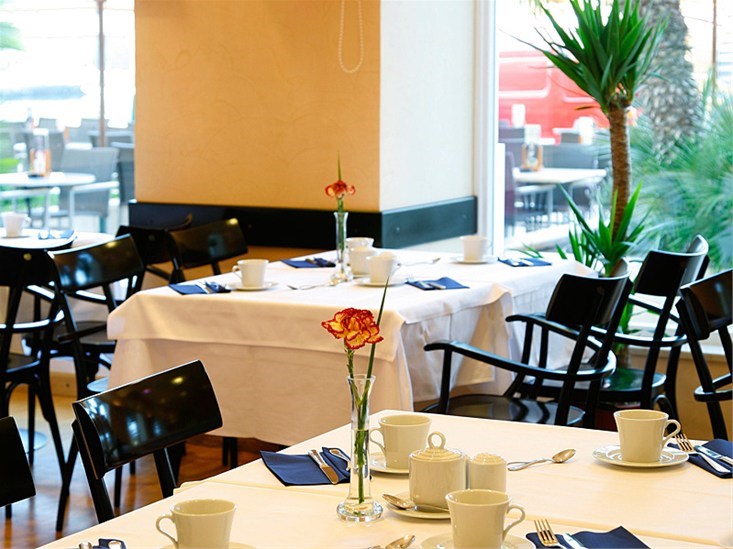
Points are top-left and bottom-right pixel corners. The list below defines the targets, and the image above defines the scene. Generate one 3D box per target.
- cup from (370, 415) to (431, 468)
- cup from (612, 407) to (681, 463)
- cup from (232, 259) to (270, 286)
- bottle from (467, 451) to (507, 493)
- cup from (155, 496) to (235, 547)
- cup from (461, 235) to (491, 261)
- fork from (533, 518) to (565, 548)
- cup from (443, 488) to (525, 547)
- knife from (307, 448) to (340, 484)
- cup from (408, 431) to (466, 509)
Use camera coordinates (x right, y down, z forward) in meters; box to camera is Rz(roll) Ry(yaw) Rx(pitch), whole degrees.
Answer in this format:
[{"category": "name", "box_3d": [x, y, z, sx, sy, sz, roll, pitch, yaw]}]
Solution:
[{"category": "cup", "box_3d": [0.062, 0.341, 1.249, 0.132, 0.097, 0.102, -5, -15, 25]}, {"category": "cup", "box_3d": [0.584, 0.331, 1.280, 0.122, 0.089, 0.091, 1, -3, -10]}, {"category": "cup", "box_3d": [-0.524, -0.003, 2.881, 0.122, 0.125, 0.149, -4, 6, -13]}, {"category": "bottle", "box_3d": [0.198, 0.328, 1.030, 0.058, 0.061, 0.061, 0, -2, -1]}, {"category": "cup", "box_3d": [-0.228, 0.328, 0.849, 0.067, 0.049, 0.092, 3, -16, -29]}, {"category": "cup", "box_3d": [0.626, -0.141, 3.493, 0.115, 0.122, 0.159, 0, -1, 24]}, {"category": "fork", "box_3d": [0.268, 0.376, 0.907, 0.012, 0.011, 0.072, 4, 20, -10]}, {"category": "cup", "box_3d": [0.159, 0.319, 0.832, 0.095, 0.062, 0.071, 1, -1, 5]}, {"category": "knife", "box_3d": [-0.083, 0.381, 1.251, 0.022, 0.013, 0.142, -10, 6, -10]}, {"category": "cup", "box_3d": [0.118, 0.332, 1.042, 0.090, 0.107, 0.084, -2, 6, 0]}]
